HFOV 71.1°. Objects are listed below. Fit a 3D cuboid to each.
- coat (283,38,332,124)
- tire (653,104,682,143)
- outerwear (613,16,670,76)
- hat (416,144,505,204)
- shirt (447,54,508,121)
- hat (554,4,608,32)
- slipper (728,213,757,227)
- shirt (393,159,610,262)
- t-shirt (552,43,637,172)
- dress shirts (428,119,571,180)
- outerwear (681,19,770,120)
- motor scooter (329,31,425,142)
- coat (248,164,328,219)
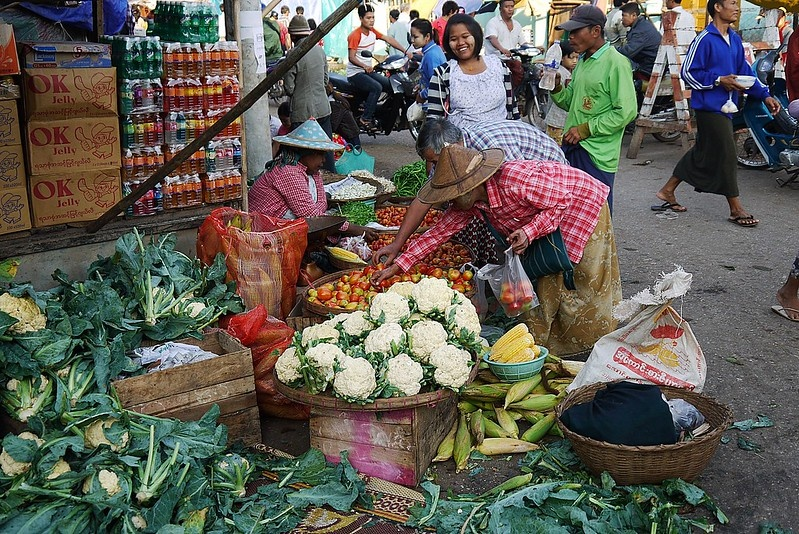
[{"bbox_3d":[-1.374,-2.675,7.982,0.589,0.998,0.790,24,38,39],"label":"coat"},{"bbox_3d":[5.553,-2.846,11.499,0.827,0.796,0.249,0,7,8],"label":"tire"},{"bbox_3d":[4.574,-4.298,11.182,1.151,1.145,0.954,-14,24,-21],"label":"outerwear"},{"bbox_3d":[0.415,-0.645,4.083,0.478,0.189,0.476,-41,25,-11],"label":"hat"},{"bbox_3d":[0.783,-1.848,5.823,0.790,0.740,0.434,-11,23,-13],"label":"shirt"},{"bbox_3d":[1.804,-2.430,5.481,0.380,0.181,0.236,2,26,0],"label":"hat"},{"bbox_3d":[4.489,-0.613,7.321,0.155,0.088,0.254,-19,22,-40],"label":"slipper"},{"bbox_3d":[0.864,-0.376,4.753,1.752,0.975,0.987,0,9,41],"label":"shirt"},{"bbox_3d":[2.031,-1.663,5.831,0.657,1.218,0.962,-17,28,-17],"label":"t-shirt"},{"bbox_3d":[0.784,-1.003,4.808,1.061,0.614,0.512,1,47,19],"label":"dress shirts"},{"bbox_3d":[4.217,-2.574,7.301,1.074,1.048,0.580,-4,13,-4],"label":"outerwear"},{"bbox_3d":[-0.508,-3.498,11.230,2.725,1.722,1.334,10,25,27],"label":"motor scooter"},{"bbox_3d":[-1.093,-0.740,5.392,0.661,0.596,0.478,0,29,-1],"label":"coat"}]
